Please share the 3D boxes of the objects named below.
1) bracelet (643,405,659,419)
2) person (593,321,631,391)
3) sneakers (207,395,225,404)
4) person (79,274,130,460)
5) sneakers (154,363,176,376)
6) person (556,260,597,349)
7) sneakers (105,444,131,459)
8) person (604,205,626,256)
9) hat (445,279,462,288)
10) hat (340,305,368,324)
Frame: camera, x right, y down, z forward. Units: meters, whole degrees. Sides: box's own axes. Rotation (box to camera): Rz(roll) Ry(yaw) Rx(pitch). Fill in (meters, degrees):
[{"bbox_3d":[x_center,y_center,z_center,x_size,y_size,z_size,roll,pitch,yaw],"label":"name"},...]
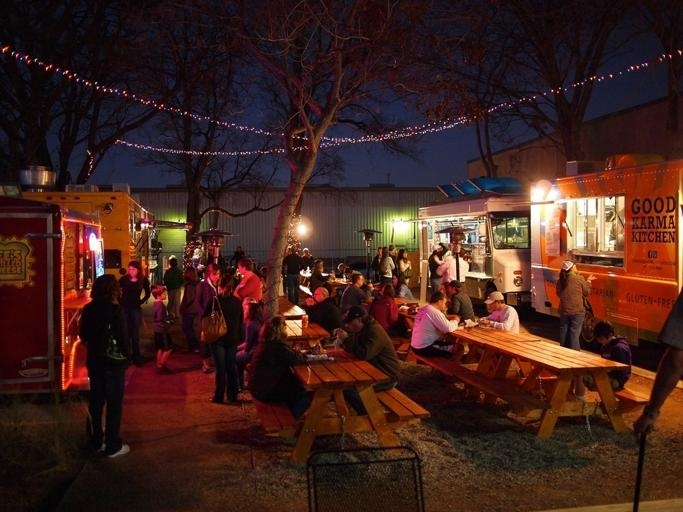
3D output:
[{"bbox_3d":[2.208,1.114,3.874,0.073,0.032,0.076,-3,2,-22],"label":"bracelet"},{"bbox_3d":[3.770,1.397,7.713,0.543,0.932,0.558,0,-4,-5],"label":"person"},{"bbox_3d":[-1.986,2.259,8.521,0.266,0.124,0.092,6,2,41],"label":"sneakers"},{"bbox_3d":[-2.885,1.319,6.624,0.592,2.177,0.299,-1,2,15],"label":"person"},{"bbox_3d":[-3.333,2.139,10.174,0.438,0.186,0.148,1,9,-40],"label":"sneakers"},{"bbox_3d":[4.334,0.933,10.180,0.506,1.586,0.506,-2,2,-44],"label":"person"},{"bbox_3d":[-2.683,2.358,6.604,0.090,0.097,0.216,5,10,16],"label":"sneakers"},{"bbox_3d":[5.424,-0.547,10.795,0.265,0.944,0.932,0,2,21],"label":"person"},{"bbox_3d":[2.509,0.630,12.207,0.378,0.218,0.275,8,4,28],"label":"hat"},{"bbox_3d":[0.200,1.112,9.989,0.511,0.299,0.341,0,3,18],"label":"hat"}]
